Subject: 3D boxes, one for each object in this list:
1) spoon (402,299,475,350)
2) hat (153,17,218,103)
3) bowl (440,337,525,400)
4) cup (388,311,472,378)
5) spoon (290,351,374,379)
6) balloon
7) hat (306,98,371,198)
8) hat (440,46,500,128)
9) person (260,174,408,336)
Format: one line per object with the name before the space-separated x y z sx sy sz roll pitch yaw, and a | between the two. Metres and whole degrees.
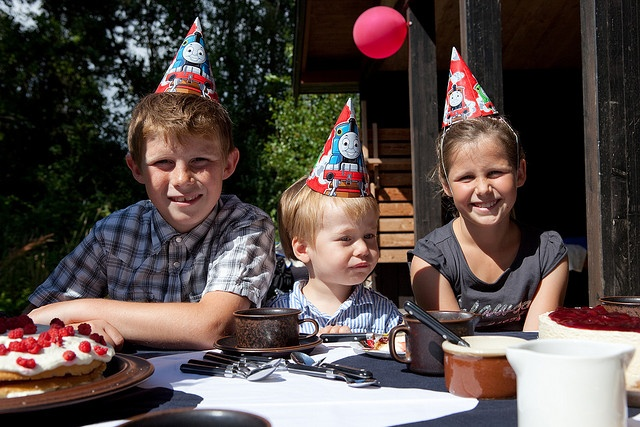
spoon | 0.463 0.492 2.604 0.056 0.089 0.563 -19 -38 28
hat | -0.795 -0.939 3.728 0.418 0.505 0.310 10 -4 -22
bowl | 0.627 0.626 2.402 0.265 0.178 0.276 -1 -5 0
cup | 0.463 0.577 2.695 0.327 0.240 0.270 0 -2 -8
spoon | 0.023 0.622 2.630 0.427 0.075 0.115 5 -1 35
balloon | 0.531 -1.571 5.189 0.452 0.359 0.346 -17 12 -4
hat | 0.143 -0.412 3.706 0.443 0.567 0.347 0 8 -22
hat | 0.977 -0.872 4.188 0.285 0.479 0.380 -14 6 -25
person | 0.086 0.287 3.753 0.726 1.068 0.768 1 1 -29
